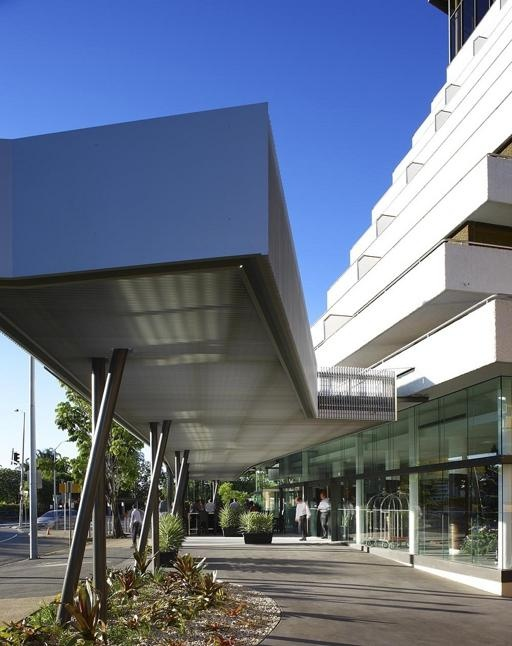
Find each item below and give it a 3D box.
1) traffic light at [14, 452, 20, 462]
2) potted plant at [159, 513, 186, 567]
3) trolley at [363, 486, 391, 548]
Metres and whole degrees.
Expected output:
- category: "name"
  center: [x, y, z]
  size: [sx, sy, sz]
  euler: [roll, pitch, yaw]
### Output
- category: "traffic light"
  center: [-15.616, 8.855, 44.796]
  size: [0.295, 0.710, 0.789]
  euler: [8, -17, -24]
- category: "potted plant"
  center: [-2.043, 5.010, 15.957]
  size: [0.781, 1.074, 0.775]
  euler: [-4, -10, 34]
- category: "trolley"
  center: [3.679, 6.026, 20.859]
  size: [0.788, 1.489, 1.244]
  euler: [3, -19, 7]
